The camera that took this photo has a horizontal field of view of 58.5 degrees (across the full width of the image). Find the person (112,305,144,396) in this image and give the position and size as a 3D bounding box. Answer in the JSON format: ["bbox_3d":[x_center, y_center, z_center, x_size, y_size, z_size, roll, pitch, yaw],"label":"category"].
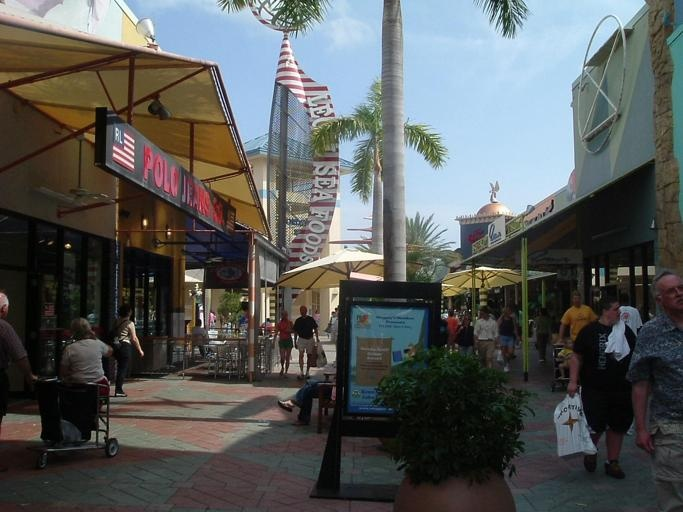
[{"bbox_3d":[-4.665,1.992,13.141,0.536,1.887,1.137,2,-4,-20],"label":"person"}]

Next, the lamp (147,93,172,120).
[{"bbox_3d":[-3.258,-2.603,10.877,0.348,0.402,0.822,1,-4,-15],"label":"lamp"}]

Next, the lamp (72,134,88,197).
[{"bbox_3d":[-5.453,-1.878,12.638,0.260,1.349,0.979,2,-4,-23],"label":"lamp"}]

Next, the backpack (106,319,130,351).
[{"bbox_3d":[-4.848,1.728,13.203,0.405,0.790,0.591,1,-14,-10],"label":"backpack"}]

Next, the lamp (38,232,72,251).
[{"bbox_3d":[-5.835,-0.298,12.284,0.322,0.269,0.536,7,-9,-24],"label":"lamp"}]

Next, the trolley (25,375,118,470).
[{"bbox_3d":[-3.469,2.105,7.827,1.090,0.906,0.802,1,-11,-33],"label":"trolley"}]

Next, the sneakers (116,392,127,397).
[{"bbox_3d":[-4.590,2.857,12.620,0.235,0.099,0.079,1,-7,-7],"label":"sneakers"}]
